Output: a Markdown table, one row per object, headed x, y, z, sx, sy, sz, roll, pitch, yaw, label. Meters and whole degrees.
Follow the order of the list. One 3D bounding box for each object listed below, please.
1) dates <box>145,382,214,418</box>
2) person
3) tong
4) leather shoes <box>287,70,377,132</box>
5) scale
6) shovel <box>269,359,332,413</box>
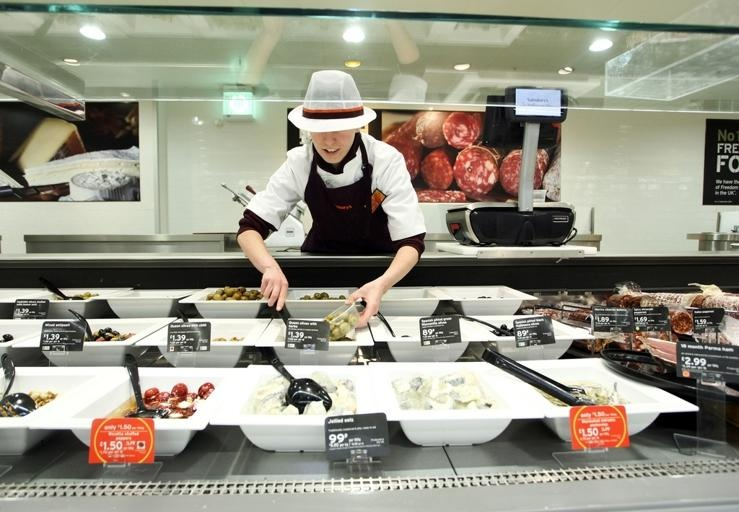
| x | y | z | sx | sy | sz | roll | pitch | yaw | label |
| --- | --- | --- | --- | --- | --- | --- | --- | --- | --- |
| -0.539 | 0.408 | 1.469 | 0.166 | 0.072 | 0.155 | 1 | 7 | -3 | dates |
| -0.138 | -0.090 | 2.267 | 0.852 | 1.323 | 0.947 | 1 | 28 | 4 | person |
| 0.450 | 0.305 | 1.502 | 0.387 | 0.078 | 0.100 | 25 | 12 | 18 | tong |
| -0.124 | -0.518 | 1.774 | 0.304 | 0.169 | 0.315 | -4 | 7 | -6 | leather shoes |
| 0.630 | -0.319 | 2.073 | 0.471 | 0.549 | 0.225 | -2 | 11 | -15 | scale |
| -0.196 | 0.366 | 1.432 | 0.078 | 0.032 | 0.154 | -26 | 43 | -37 | shovel |
